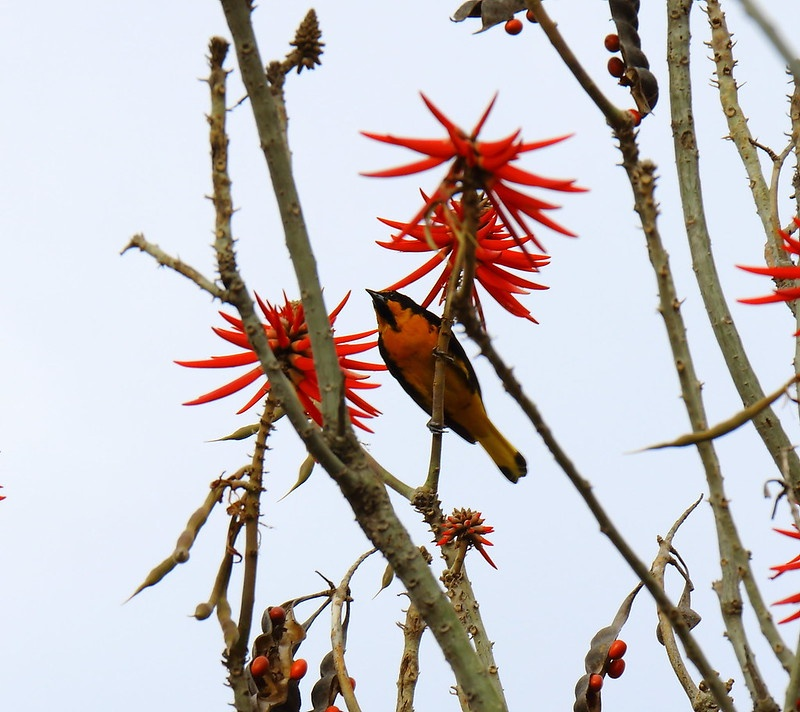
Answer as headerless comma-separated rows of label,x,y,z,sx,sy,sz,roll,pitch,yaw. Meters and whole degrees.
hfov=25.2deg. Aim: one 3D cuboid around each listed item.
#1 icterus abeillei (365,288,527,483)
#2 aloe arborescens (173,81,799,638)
icterus abeillei,0.151,0.072,6.118,0.394,0.228,0.787,-7,-95,33
aloe arborescens,-0.125,0.024,4.554,1.146,0.424,1.483,-5,-81,12
